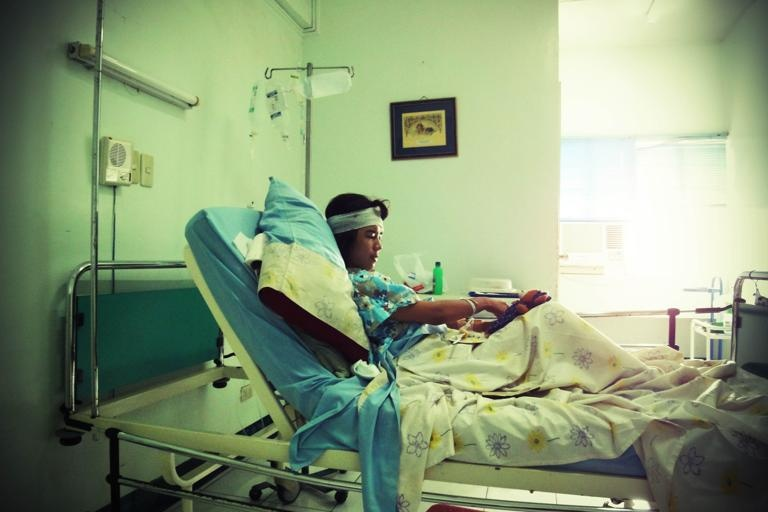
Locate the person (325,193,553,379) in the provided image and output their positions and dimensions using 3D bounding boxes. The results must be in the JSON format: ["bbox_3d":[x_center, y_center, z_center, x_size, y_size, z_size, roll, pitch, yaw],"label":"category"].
[{"bbox_3d":[0.393,0.185,3.584,1.461,0.989,0.814,2,2,-5],"label":"person"}]

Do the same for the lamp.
[{"bbox_3d":[-1.410,-0.989,3.525,0.159,0.185,0.702,-43,-27,24],"label":"lamp"}]

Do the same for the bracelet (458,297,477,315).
[{"bbox_3d":[0.448,0.271,3.288,0.088,0.147,0.180,0,-3,11],"label":"bracelet"}]

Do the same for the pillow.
[{"bbox_3d":[-0.367,0.104,3.085,0.242,0.831,0.552,-29,-6,30],"label":"pillow"}]

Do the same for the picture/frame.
[{"bbox_3d":[0.317,-0.977,4.666,0.473,0.397,0.038,-1,4,15],"label":"picture/frame"}]
